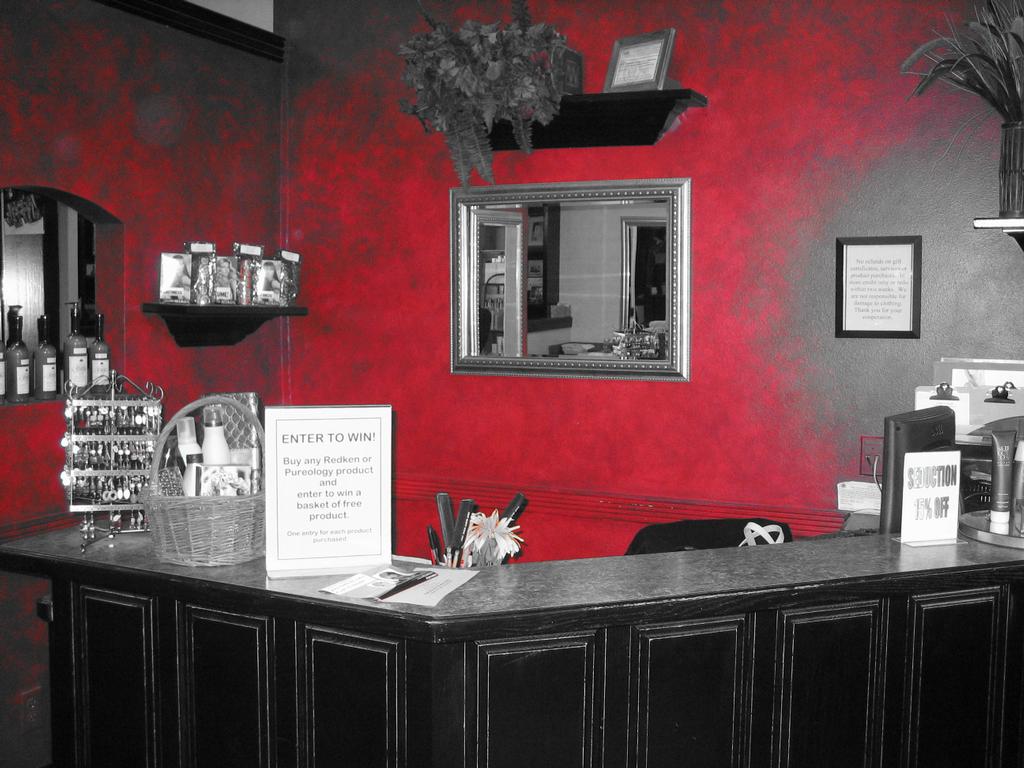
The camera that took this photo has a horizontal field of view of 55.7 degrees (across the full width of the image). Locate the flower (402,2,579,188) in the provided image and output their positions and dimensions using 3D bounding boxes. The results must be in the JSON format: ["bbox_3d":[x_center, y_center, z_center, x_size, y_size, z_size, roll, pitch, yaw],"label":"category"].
[{"bbox_3d":[-0.066,-1.378,4.540,0.880,0.996,0.292,-1,6,0],"label":"flower"}]

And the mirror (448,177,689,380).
[{"bbox_3d":[0.326,-0.550,4.804,1.008,0.824,0.049,0,3,24],"label":"mirror"}]

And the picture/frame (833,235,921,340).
[{"bbox_3d":[1.665,-0.451,4.371,0.446,0.604,0.045,1,5,27],"label":"picture/frame"}]

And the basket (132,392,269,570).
[{"bbox_3d":[-1.035,0.318,3.402,0.563,0.693,0.512,-1,0,-7],"label":"basket"}]

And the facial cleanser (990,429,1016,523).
[{"bbox_3d":[1.729,0.329,3.396,0.082,0.337,0.146,1,2,29],"label":"facial cleanser"}]
